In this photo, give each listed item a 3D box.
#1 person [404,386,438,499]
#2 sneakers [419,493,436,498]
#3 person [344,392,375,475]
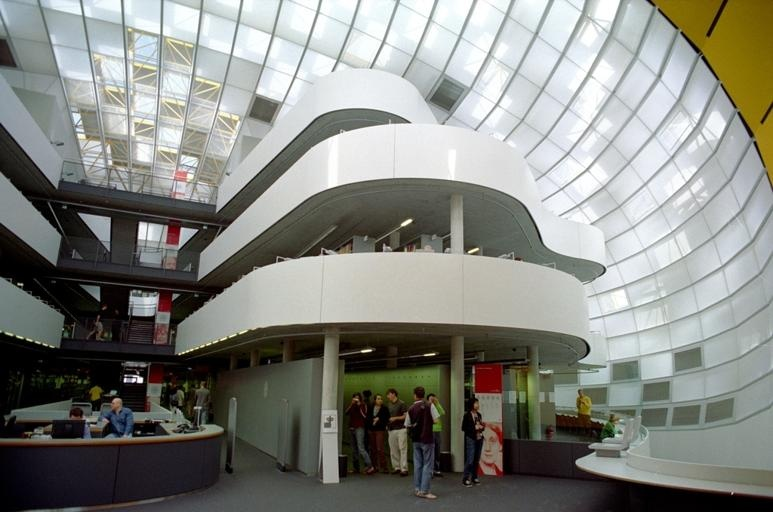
[{"bbox_3d":[1.112,6.041,16.601,1.063,3.563,0.934,3,5,-7],"label":"person"},{"bbox_3d":[1.296,7.523,16.394,0.491,0.197,0.175,3,-10,-16],"label":"sneakers"},{"bbox_3d":[-1.040,6.855,19.989,1.077,3.229,1.422,4,5,0],"label":"person"}]
